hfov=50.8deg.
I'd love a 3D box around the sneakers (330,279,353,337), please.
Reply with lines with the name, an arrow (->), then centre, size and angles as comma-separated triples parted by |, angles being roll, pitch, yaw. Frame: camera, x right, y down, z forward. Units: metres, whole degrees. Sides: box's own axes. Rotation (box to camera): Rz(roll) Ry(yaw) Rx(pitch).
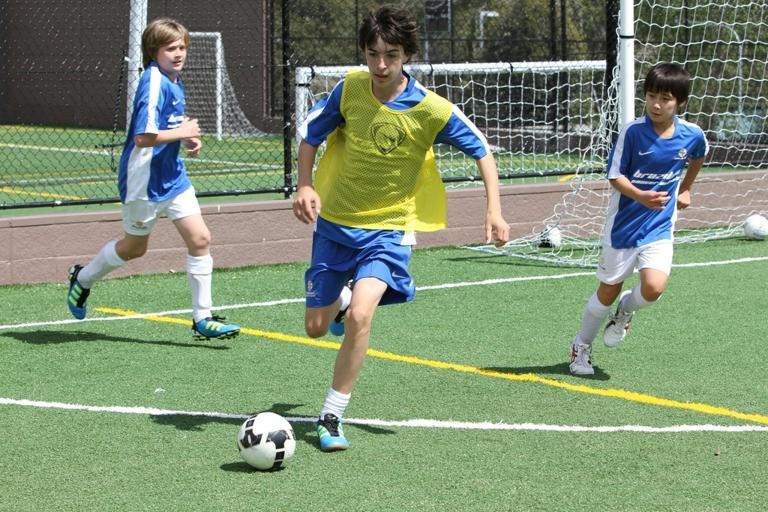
sneakers -> -0.294, 0.393, 5.561 | 0.152, 0.474, 0.200 | 8, -20, -4

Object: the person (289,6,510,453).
person -> 0.030, -0.208, 4.758 | 1.102, 2.416, 0.775 | -2, 13, -7

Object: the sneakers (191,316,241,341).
sneakers -> -1.288, 0.564, 6.128 | 0.404, 0.198, 0.158 | -2, -5, 14

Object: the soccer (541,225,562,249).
soccer -> 1.956, -0.220, 9.524 | 0.179, 0.269, 0.268 | 1, -8, 1

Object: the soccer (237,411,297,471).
soccer -> -0.637, 1.003, 4.377 | 0.310, 0.274, 0.185 | -2, 14, -9

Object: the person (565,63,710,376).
person -> 1.751, -0.255, 5.634 | 0.585, 2.109, 0.915 | 10, 17, 38

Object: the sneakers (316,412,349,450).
sneakers -> -0.289, 0.995, 4.579 | 0.173, 0.176, 0.163 | -2, 14, -5

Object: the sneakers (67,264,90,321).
sneakers -> -2.545, 0.319, 6.657 | 0.204, 0.485, 0.165 | 4, 11, 39

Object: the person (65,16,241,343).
person -> -1.734, -0.591, 6.248 | 1.477, 2.410, 0.610 | 6, 15, 25
